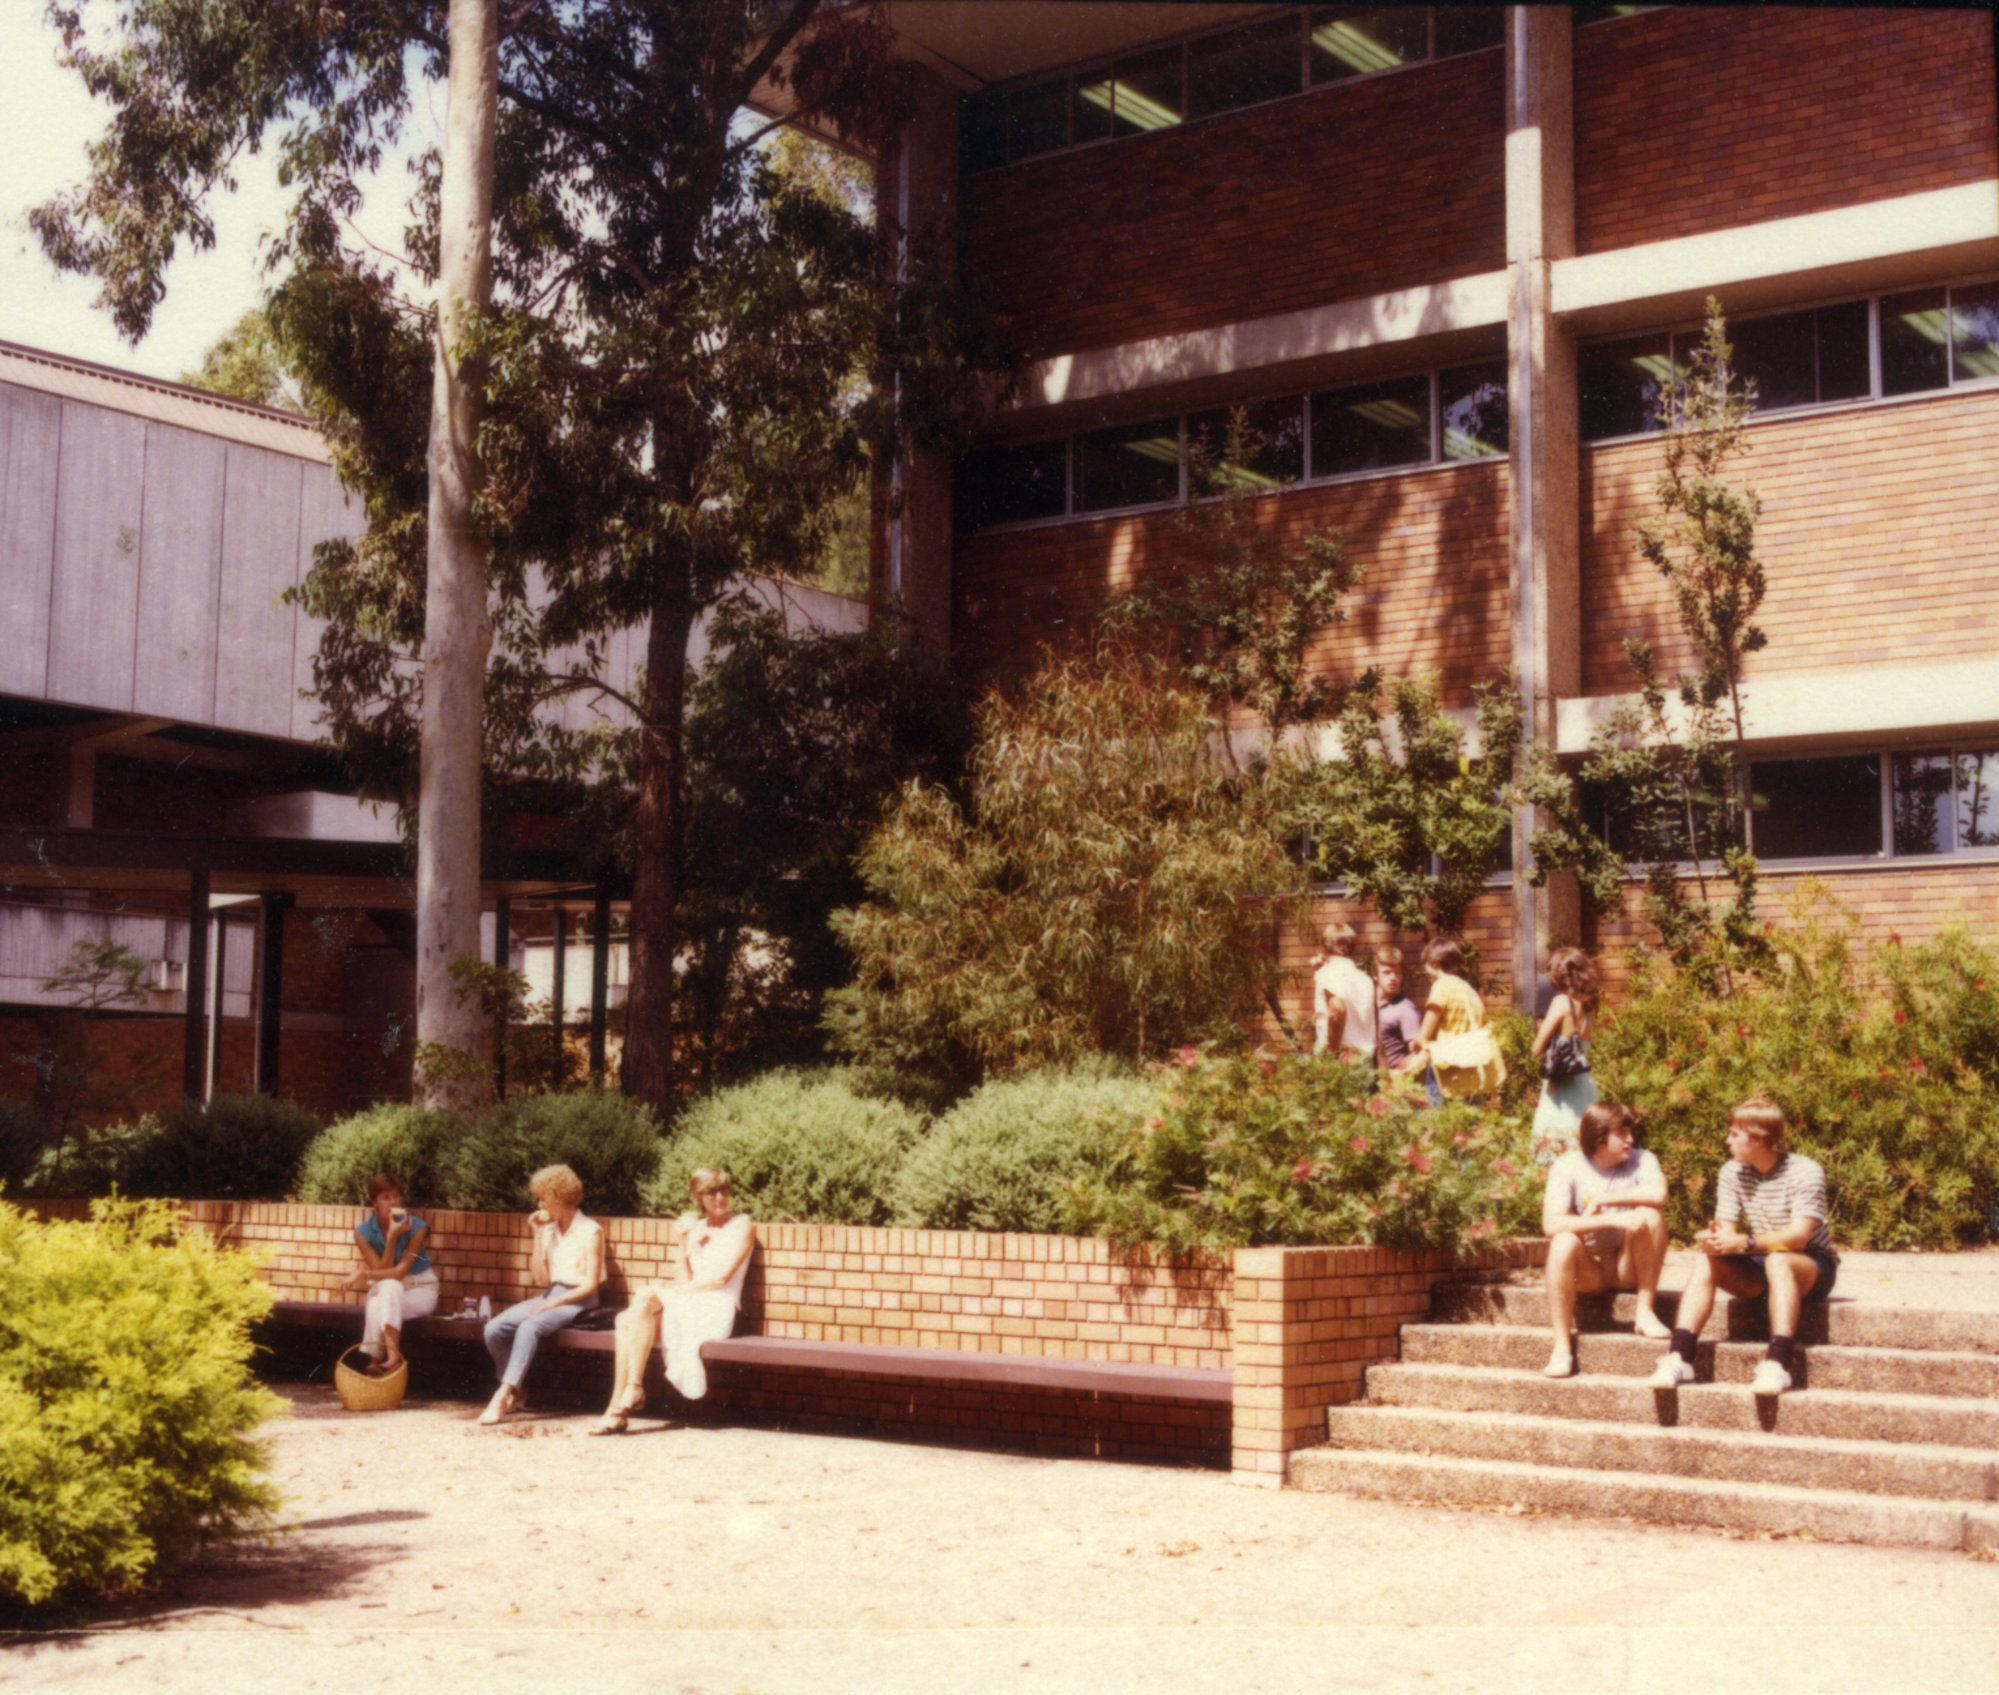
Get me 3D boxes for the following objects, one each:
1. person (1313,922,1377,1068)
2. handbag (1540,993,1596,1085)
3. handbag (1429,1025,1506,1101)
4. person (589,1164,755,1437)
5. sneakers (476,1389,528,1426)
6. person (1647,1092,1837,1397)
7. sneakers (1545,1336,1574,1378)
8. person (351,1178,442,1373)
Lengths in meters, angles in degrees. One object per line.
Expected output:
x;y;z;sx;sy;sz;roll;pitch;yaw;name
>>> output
2.373;1.019;16.108;0.399;0.997;0.885;0;6;12;person
3.597;1.261;15.020;0.328;0.628;0.575;1;-14;5;handbag
3.164;1.488;16.008;0.480;0.549;0.522;-3;7;-19;handbag
-2.007;2.866;14.500;0.921;1.668;0.598;22;-35;-34;person
-3.078;3.476;14.506;0.124;0.190;0.411;-3;-15;13;sneakers
3.759;1.993;11.776;0.714;1.367;0.846;3;7;30;person
2.890;2.629;12.065;0.083;0.197;0.273;-1;-28;14;sneakers
-4.098;2.949;15.898;0.527;1.564;1.012;-4;-47;-9;person
